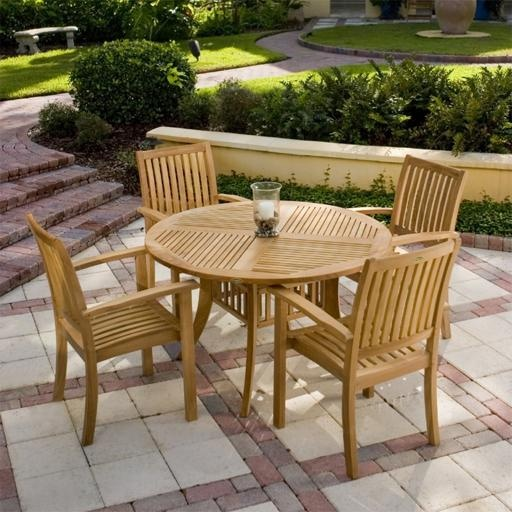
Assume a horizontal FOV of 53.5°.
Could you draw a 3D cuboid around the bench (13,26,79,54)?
[{"bbox_3d":[-6.152,-6.185,14.542,1.160,0.765,1.516,16,27,30],"label":"bench"}]
